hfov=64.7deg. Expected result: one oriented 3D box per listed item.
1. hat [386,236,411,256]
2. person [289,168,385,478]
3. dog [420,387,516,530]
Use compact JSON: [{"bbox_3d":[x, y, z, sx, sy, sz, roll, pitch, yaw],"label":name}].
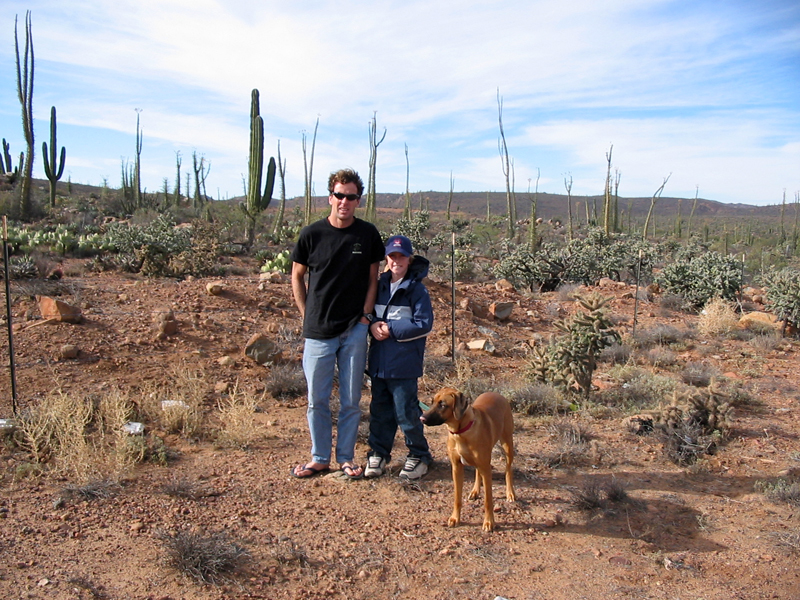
[{"bbox_3d":[0.016,-0.611,6.998,0.351,0.219,0.254,-2,5,-33],"label":"hat"},{"bbox_3d":[-0.700,0.561,7.161,1.011,2.941,0.401,0,4,-8],"label":"person"},{"bbox_3d":[0.867,1.560,6.745,0.552,1.490,1.726,-2,3,32],"label":"dog"}]
